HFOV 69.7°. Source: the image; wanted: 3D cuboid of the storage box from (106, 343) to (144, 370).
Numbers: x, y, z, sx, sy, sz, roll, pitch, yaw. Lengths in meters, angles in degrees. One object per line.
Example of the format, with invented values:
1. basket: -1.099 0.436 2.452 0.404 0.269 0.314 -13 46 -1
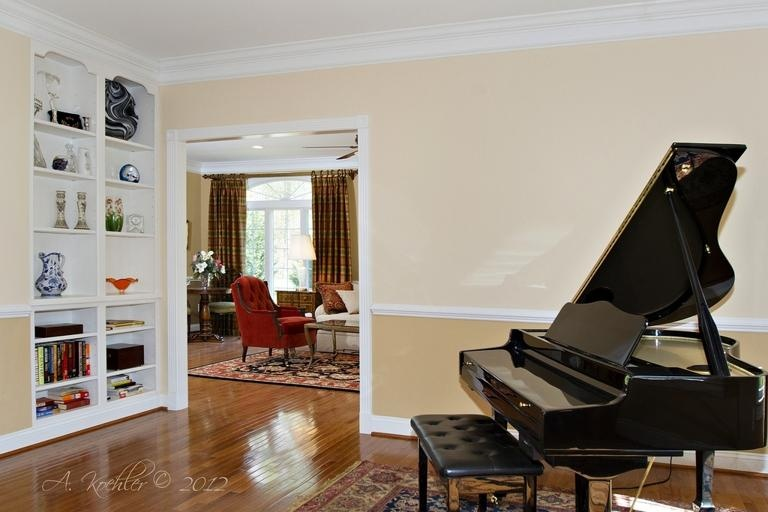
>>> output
1. storage box: -2.736 1.047 5.780 0.275 0.159 0.271 4 4 23

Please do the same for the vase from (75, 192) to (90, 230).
1. vase: -2.963 -0.444 5.399 0.117 0.366 0.243 -3 6 -28

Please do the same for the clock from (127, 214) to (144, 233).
1. clock: -2.694 -0.351 5.967 0.190 0.184 0.055 -3 -2 2

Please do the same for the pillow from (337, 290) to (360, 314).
1. pillow: -0.589 0.732 8.816 0.371 0.318 0.111 -2 -3 34

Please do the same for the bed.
1. bed: -0.798 0.983 8.424 1.159 1.116 0.926 -2 -5 20

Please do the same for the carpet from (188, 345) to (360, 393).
1. carpet: -1.255 1.536 7.602 2.411 0.156 1.677 2 5 20

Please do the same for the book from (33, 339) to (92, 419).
1. book: -3.047 1.131 5.244 0.506 0.667 0.265 -4 7 -38

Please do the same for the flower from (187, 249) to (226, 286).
1. flower: -3.257 0.237 10.041 0.586 0.656 0.880 -2 6 -20

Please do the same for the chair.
1. chair: -1.692 0.951 8.532 1.380 1.433 1.076 0 0 19

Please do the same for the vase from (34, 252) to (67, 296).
1. vase: -3.207 0.172 5.280 0.282 0.388 0.297 5 2 27

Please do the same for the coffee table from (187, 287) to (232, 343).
1. coffee table: -2.989 1.030 9.831 0.966 0.918 0.949 1 -3 -24

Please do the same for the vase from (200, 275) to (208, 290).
1. vase: -3.133 0.440 9.667 0.122 0.197 0.215 -2 6 -23

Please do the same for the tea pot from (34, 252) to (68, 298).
1. tea pot: -3.178 0.178 5.271 0.207 0.407 0.288 1 6 5

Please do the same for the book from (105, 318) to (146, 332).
1. book: -2.693 0.714 5.772 0.389 0.081 0.244 -3 6 -30
